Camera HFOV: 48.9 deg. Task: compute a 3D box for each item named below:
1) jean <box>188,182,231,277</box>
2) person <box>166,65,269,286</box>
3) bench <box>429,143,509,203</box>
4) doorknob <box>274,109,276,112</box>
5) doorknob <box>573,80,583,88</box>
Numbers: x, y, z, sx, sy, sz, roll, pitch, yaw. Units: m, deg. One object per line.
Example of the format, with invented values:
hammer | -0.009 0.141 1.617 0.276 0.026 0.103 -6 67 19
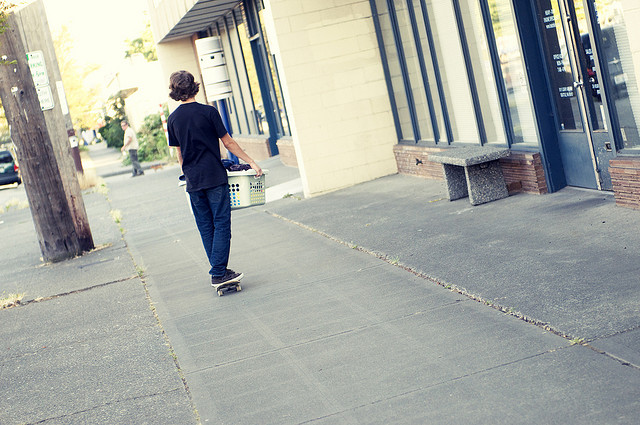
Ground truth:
jean | -1.257 0.216 8.706 0.511 1.135 0.337 -13 12 -5
person | -1.291 -0.412 8.738 0.830 2.673 0.616 -15 12 -10
bench | 2.363 -0.564 10.866 0.742 0.737 1.225 -16 9 -17
doorknob | -1.234 -2.818 19.344 0.054 0.044 0.050 1 -4 1
doorknob | 3.451 -1.722 9.371 0.150 0.079 0.138 -2 3 11
